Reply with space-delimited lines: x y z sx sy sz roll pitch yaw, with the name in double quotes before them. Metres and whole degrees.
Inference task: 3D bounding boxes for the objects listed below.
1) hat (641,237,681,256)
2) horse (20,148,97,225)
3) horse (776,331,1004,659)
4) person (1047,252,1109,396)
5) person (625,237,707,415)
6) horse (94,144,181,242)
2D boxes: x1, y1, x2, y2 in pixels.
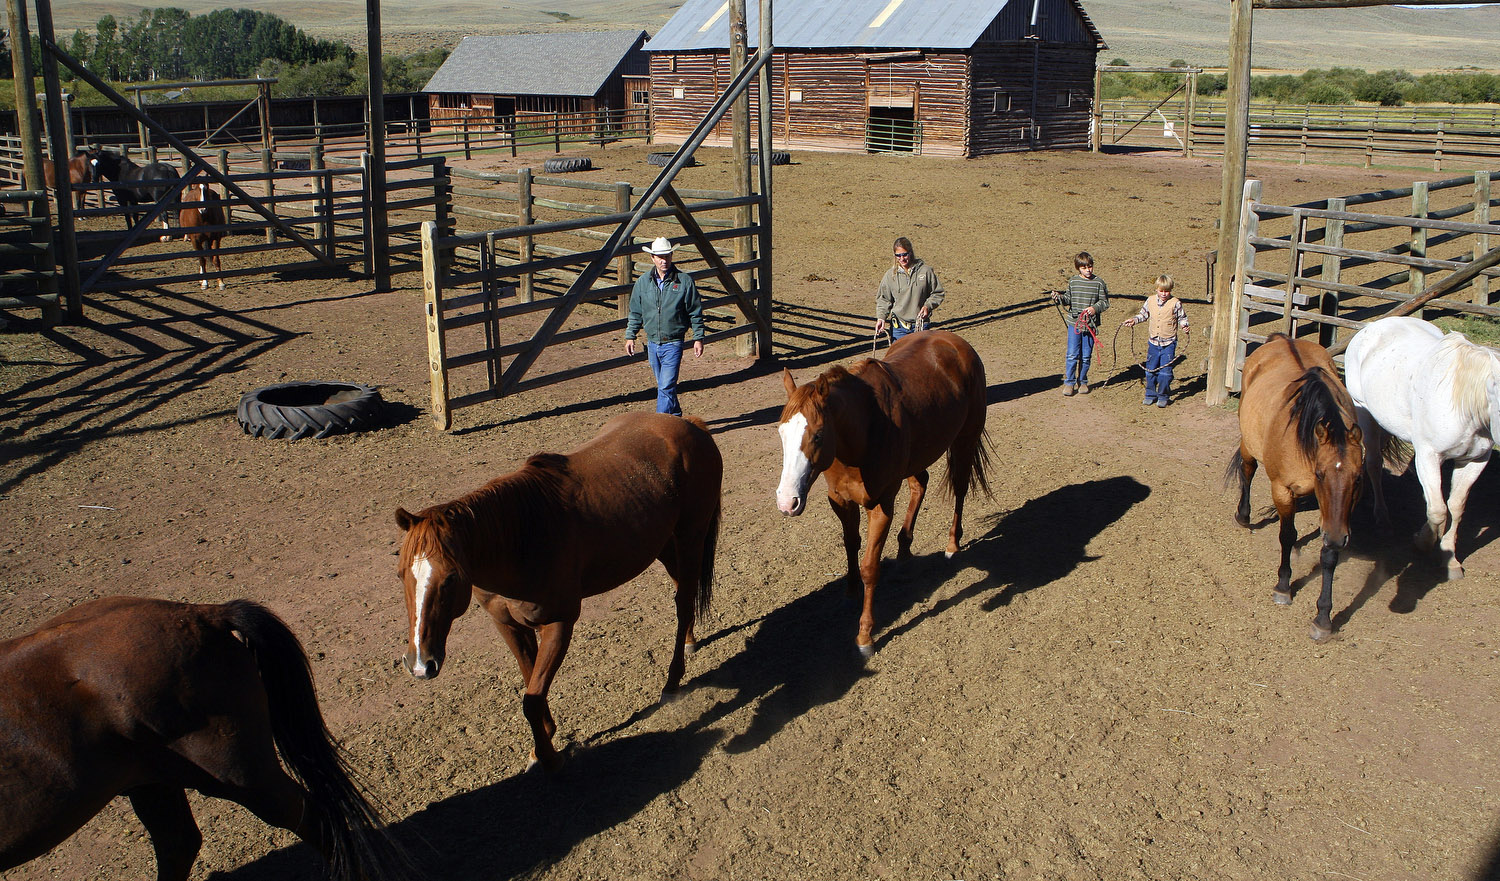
"hat" -1.028 -2.186 11.748 0.523 0.214 0.575 -3 16 -2
"horse" -16.017 -5.880 23.705 0.580 1.423 2.430 11 17 16
"horse" 1.215 0.397 9.624 0.981 2.498 3.077 11 19 30
"person" 4.234 -1.535 13.384 0.582 1.838 0.988 7 17 18
"person" -1.004 -1.291 11.810 0.854 2.007 1.301 -1 17 -8
"horse" -13.588 -5.515 23.030 2.487 1.755 0.736 6 14 13
